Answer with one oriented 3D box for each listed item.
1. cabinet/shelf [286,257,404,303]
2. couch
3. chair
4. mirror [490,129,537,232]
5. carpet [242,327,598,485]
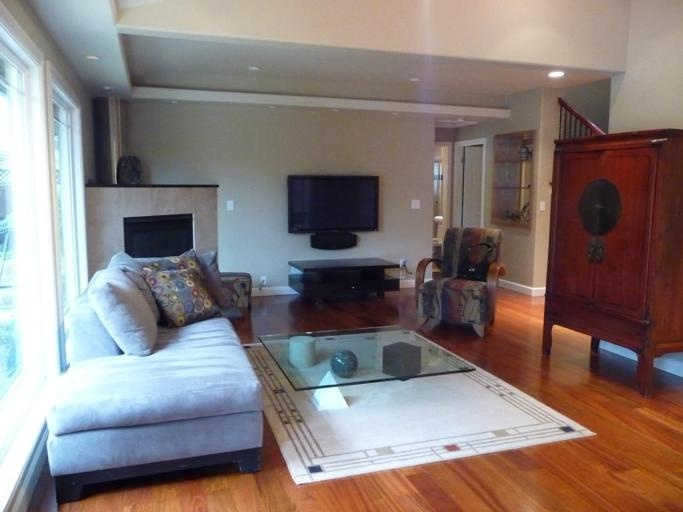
[{"bbox_3d":[0.016,0.327,6.780,1.393,0.514,0.650,-2,13,-10],"label":"cabinet/shelf"},{"bbox_3d":[-1.360,0.405,3.764,1.237,1.006,2.380,3,25,-22],"label":"couch"},{"bbox_3d":[1.273,0.241,5.467,0.867,1.005,0.850,6,14,24],"label":"chair"},{"bbox_3d":[2.420,-1.088,7.271,0.288,1.360,0.966,-3,13,-12],"label":"mirror"},{"bbox_3d":[0.320,1.031,4.198,1.993,0.040,2.729,-1,5,-17],"label":"carpet"}]
